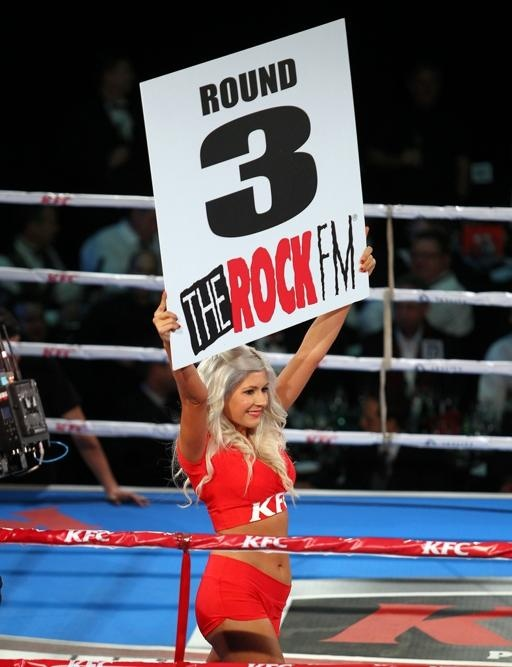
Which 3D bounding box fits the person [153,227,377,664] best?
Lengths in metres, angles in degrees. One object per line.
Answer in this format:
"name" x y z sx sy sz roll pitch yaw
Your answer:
"person" -0.069 0.380 2.502 0.782 1.131 0.372 24 -29 -39
